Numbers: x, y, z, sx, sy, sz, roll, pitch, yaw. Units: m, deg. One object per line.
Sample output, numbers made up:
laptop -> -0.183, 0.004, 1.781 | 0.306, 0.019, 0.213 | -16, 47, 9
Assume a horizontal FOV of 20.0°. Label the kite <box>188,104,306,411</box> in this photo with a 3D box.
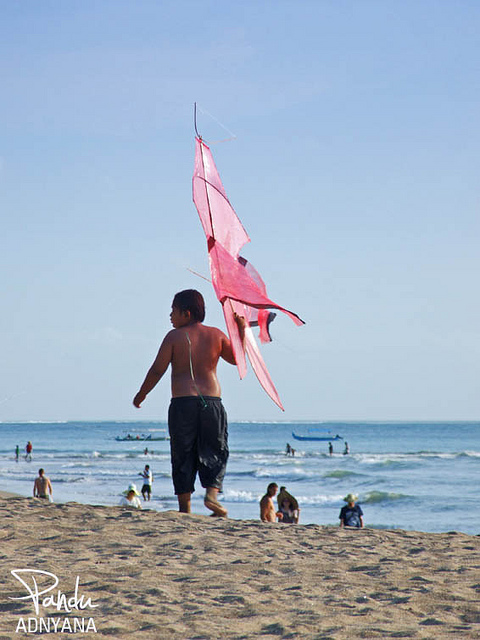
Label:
kite -> 0.062, -0.397, 9.108 | 0.178, 1.938, 0.690 | -4, 9, 39
